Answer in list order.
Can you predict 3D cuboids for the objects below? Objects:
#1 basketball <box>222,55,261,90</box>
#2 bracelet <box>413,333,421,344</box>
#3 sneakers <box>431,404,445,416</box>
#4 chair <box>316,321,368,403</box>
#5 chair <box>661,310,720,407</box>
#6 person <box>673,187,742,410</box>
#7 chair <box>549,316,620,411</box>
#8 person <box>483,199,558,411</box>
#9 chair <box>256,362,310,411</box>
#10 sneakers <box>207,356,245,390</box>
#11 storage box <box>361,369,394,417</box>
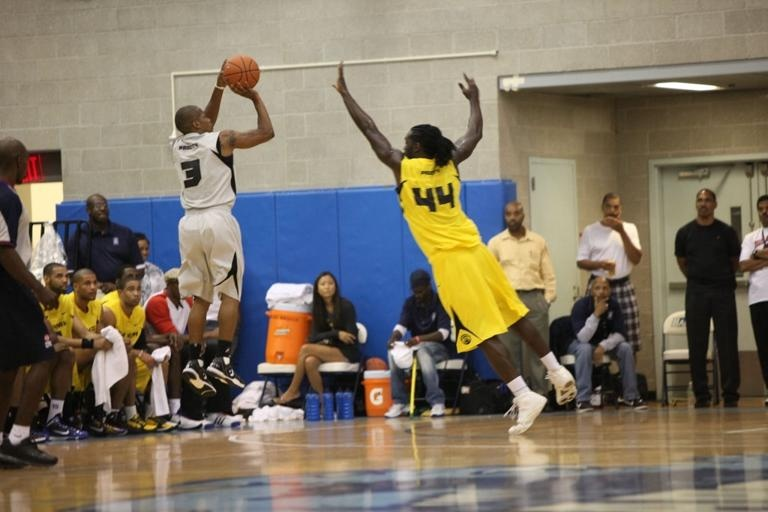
[{"bbox_3d":[-1.516,-1.863,12.070,0.345,0.367,0.351,4,2,-24],"label":"basketball"},{"bbox_3d":[0.396,1.021,14.515,0.096,0.068,0.100,7,-26,-11],"label":"bracelet"},{"bbox_3d":[0.649,1.873,14.276,0.100,0.117,0.162,4,1,-38],"label":"sneakers"},{"bbox_3d":[-0.557,1.338,14.974,0.589,1.025,0.667,14,5,-14],"label":"chair"},{"bbox_3d":[4.027,1.352,15.349,0.722,1.247,0.763,-1,-3,22],"label":"chair"},{"bbox_3d":[4.041,0.486,14.392,0.778,2.650,0.535,-3,-3,16],"label":"person"},{"bbox_3d":[2.778,1.340,15.380,0.973,1.643,1.039,-3,-4,27],"label":"chair"},{"bbox_3d":[1.819,0.592,14.867,0.807,2.542,0.780,-9,16,-4],"label":"person"},{"bbox_3d":[-1.342,1.685,15.016,0.576,0.605,0.503,-3,-20,8],"label":"chair"},{"bbox_3d":[-1.656,1.183,12.220,0.182,0.304,0.500,-10,-30,35],"label":"sneakers"},{"bbox_3d":[-0.094,1.741,14.902,0.466,0.572,0.443,4,-12,-33],"label":"storage box"}]
